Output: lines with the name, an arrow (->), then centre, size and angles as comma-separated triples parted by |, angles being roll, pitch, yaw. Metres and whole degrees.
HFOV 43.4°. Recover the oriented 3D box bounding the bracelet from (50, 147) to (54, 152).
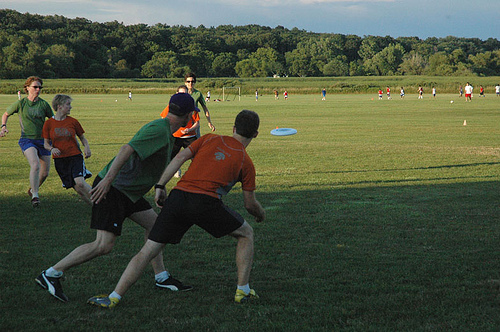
bracelet -> -3.744, -0.321, 11.935 | 0.022, 0.089, 0.092 | 32, 12, -10
